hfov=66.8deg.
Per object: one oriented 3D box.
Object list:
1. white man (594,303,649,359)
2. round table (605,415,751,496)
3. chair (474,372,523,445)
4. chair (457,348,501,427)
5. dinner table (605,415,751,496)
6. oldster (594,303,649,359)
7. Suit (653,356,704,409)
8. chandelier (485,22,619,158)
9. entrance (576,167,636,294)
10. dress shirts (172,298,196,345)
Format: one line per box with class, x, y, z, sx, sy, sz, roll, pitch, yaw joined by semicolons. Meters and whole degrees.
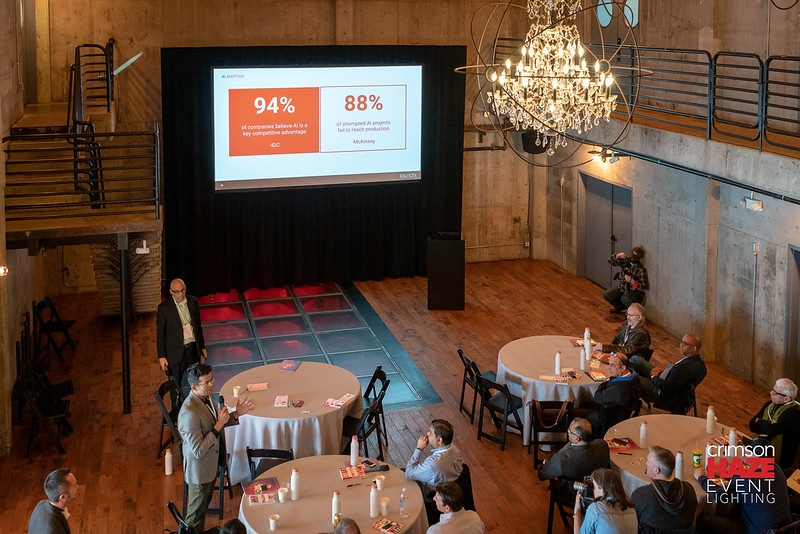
white man;4.157;1.200;11.297;0.597;1.151;0.479;2;24;-1
round table;3.332;2.632;7.854;0.982;0.679;1.065;-2;27;1
chair;1.589;2.226;9.529;0.572;1.135;0.815;17;32;38
chair;1.343;2.088;10.310;0.876;1.292;0.658;-14;26;-27
dinner table;3.306;2.227;7.700;0.982;0.679;1.065;-2;27;1
oldster;4.157;1.200;11.297;0.597;1.151;0.479;2;24;-1
Suit;4.302;1.803;9.310;0.744;0.873;0.498;0;16;17
chandelier;2.721;-3.129;10.722;1.783;2.373;4.986;-1;18;15
entrance;5.052;-0.944;14.664;0.285;3.110;2.508;-3;11;-17
dress shirts;-3.392;0.867;9.634;0.186;0.685;0.132;-14;18;-30
